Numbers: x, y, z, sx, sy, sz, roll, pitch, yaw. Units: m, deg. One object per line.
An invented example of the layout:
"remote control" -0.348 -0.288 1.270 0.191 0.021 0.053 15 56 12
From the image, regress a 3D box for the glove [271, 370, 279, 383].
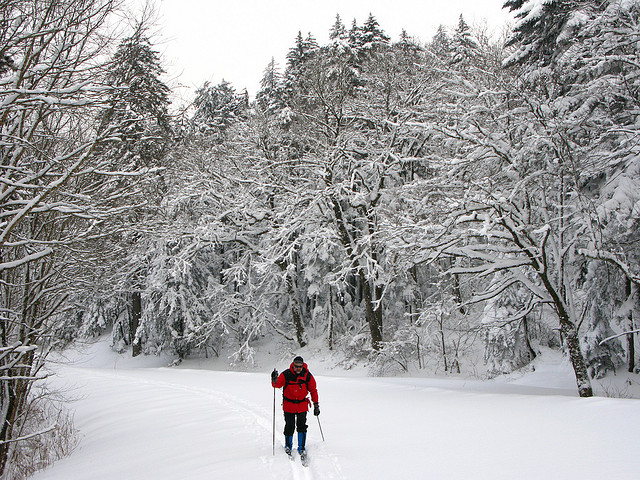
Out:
"glove" -1.039 3.106 13.171 0.124 0.279 0.181 -3 5 2

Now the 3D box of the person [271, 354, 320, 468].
"person" -0.544 3.667 12.964 0.974 2.041 1.100 -4 5 -6
